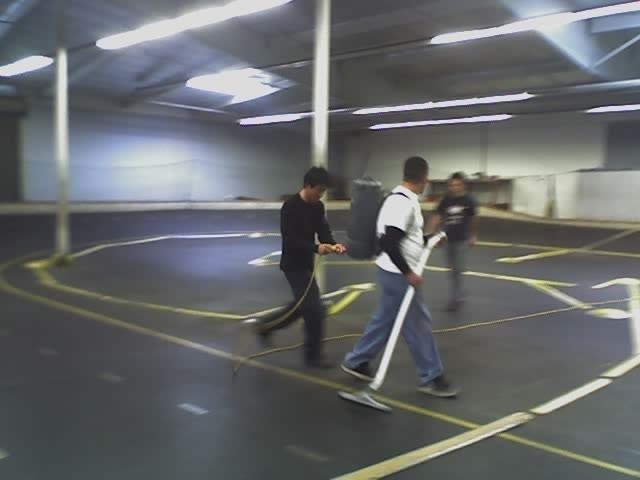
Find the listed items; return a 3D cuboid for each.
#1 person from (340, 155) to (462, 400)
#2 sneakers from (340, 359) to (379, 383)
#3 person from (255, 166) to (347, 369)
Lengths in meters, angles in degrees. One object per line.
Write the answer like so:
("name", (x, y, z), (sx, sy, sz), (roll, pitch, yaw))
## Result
("person", (0.582, 0.253, 3.185), (0.733, 1.616, 0.687), (4, 12, 15))
("sneakers", (0.290, 0.979, 3.405), (0.289, 0.133, 0.099), (17, -9, 20))
("person", (-0.151, 0.209, 3.488), (0.391, 1.546, 0.773), (-6, 13, -30))
